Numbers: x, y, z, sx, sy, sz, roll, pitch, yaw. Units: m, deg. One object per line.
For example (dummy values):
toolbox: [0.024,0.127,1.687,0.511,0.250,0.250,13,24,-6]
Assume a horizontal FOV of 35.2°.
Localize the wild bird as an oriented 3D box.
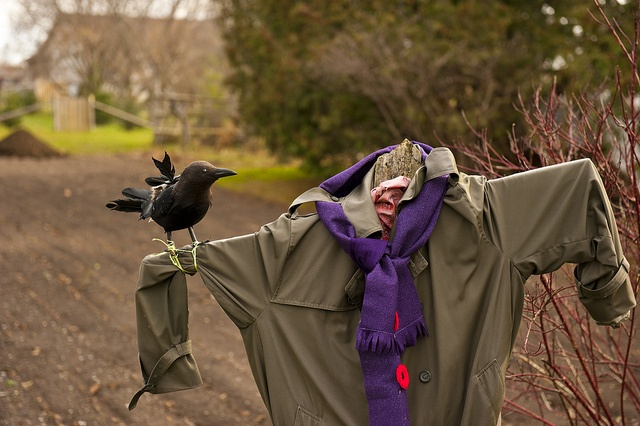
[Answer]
wild bird: [-1.466,-0.115,9.844,1.169,0.933,0.552,6,11,28]
